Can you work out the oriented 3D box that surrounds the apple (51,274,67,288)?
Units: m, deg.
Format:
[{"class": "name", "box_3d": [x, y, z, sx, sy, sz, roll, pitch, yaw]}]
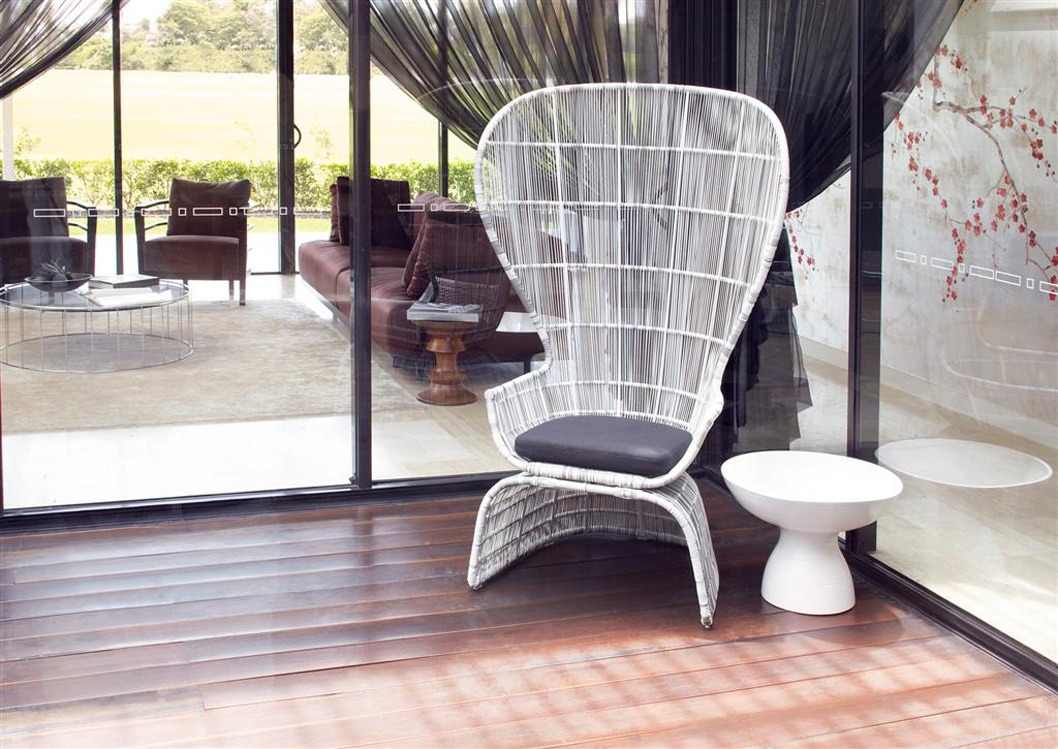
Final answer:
[{"class": "apple", "box_3d": [-1.989, -0.397, 3.330, 0.059, 0.030, 0.055, -3, 6, -32]}]

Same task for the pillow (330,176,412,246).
[{"class": "pillow", "box_3d": [-0.723, -0.736, 3.565, 0.352, 0.316, 0.089, -1, 20, -9]}]

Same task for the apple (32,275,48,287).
[{"class": "apple", "box_3d": [-2.060, -0.393, 3.308, 0.051, 0.015, 0.046, -8, -13, 20]}]

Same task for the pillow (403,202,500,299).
[{"class": "pillow", "box_3d": [-0.340, -0.548, 3.551, 0.506, 0.403, 0.136, 0, 6, -14]}]

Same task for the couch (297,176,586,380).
[{"class": "couch", "box_3d": [-0.540, -0.516, 3.704, 0.912, 0.747, 1.764, -7, 37, -23]}]

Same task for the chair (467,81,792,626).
[{"class": "chair", "box_3d": [0.330, -0.174, 3.023, 1.101, 1.849, 1.005, 1, 19, -3]}]
